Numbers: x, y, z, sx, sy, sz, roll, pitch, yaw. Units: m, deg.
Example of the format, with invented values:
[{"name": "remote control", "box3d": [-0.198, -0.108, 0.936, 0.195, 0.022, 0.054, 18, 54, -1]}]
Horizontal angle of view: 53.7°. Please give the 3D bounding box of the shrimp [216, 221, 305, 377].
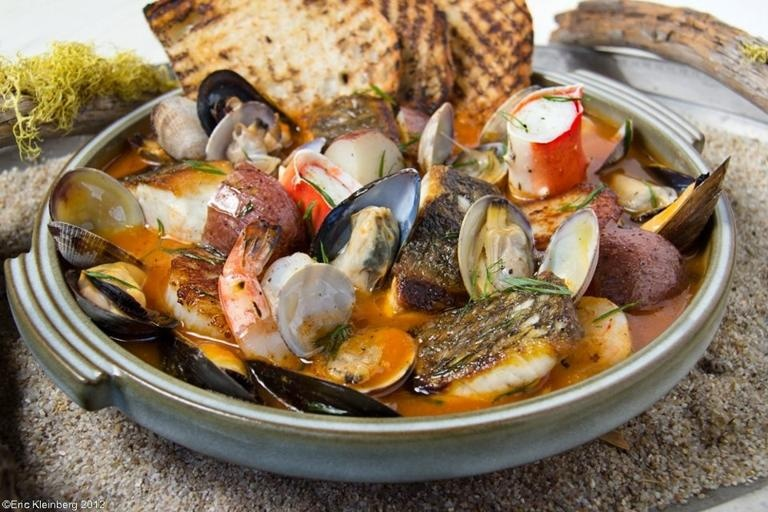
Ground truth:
[{"name": "shrimp", "box3d": [-0.516, 0.109, 2.882, 0.305, 0.141, 0.579, -3, 50, -12]}]
